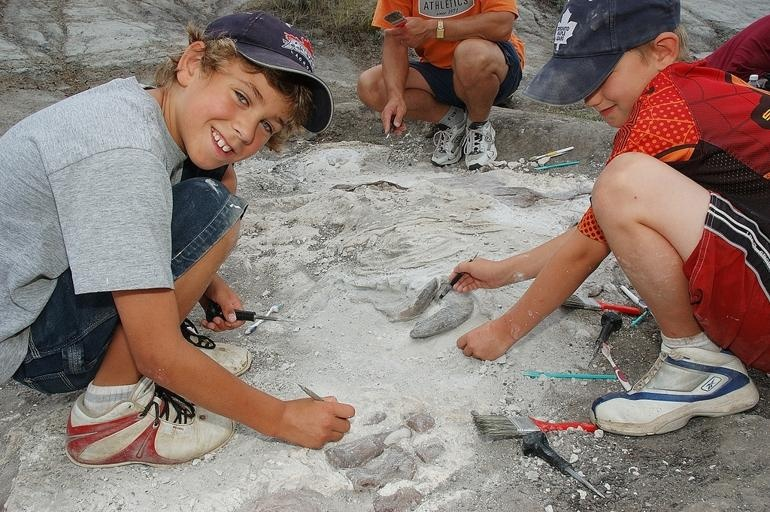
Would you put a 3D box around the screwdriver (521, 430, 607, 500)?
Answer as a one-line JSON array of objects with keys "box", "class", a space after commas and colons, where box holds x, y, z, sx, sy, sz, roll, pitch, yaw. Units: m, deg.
[{"box": [0.636, 0.740, 2.147, 0.324, 0.067, 0.079, 31, 45, 27], "class": "screwdriver"}]

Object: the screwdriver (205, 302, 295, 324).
[{"box": [-0.604, 0.259, 2.704, 0.297, 0.065, 0.079, 6, 12, 4], "class": "screwdriver"}]

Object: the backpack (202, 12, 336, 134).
[{"box": [-0.445, -0.792, 2.328, 0.516, 0.387, 0.292, 32, 86, 22], "class": "backpack"}]

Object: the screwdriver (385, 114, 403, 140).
[{"box": [0.061, -0.841, 3.919, 0.134, 0.120, 0.238, 15, 21, -5], "class": "screwdriver"}]

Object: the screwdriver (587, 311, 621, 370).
[{"box": [0.924, 0.334, 2.545, 0.106, 0.101, 0.272, 35, 58, 8], "class": "screwdriver"}]

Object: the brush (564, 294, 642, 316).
[{"box": [0.964, 0.222, 2.689, 0.331, 0.039, 0.078, 7, 38, 2], "class": "brush"}]
